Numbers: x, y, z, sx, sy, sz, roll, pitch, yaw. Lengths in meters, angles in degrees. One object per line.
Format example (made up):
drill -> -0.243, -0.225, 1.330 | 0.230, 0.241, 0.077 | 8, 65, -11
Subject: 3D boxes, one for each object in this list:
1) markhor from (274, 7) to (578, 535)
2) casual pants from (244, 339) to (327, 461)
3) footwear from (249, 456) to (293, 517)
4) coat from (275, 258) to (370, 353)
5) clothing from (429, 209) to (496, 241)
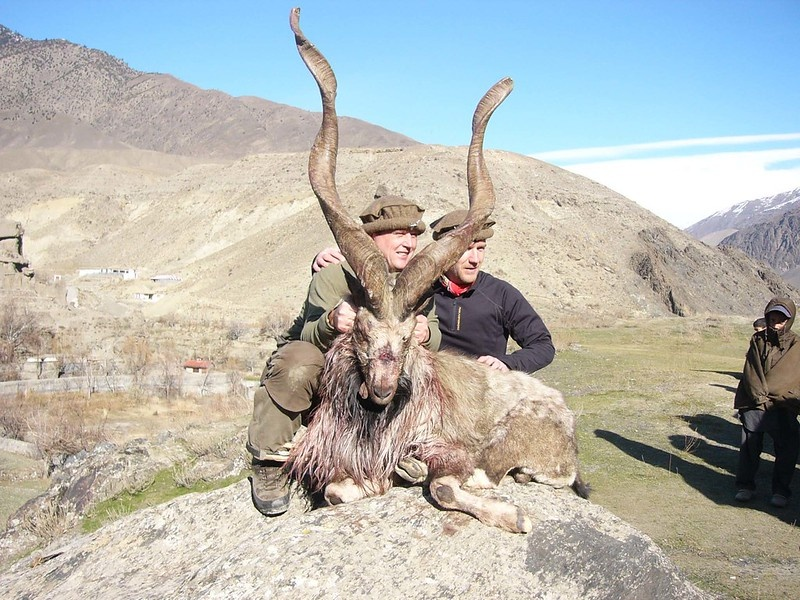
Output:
markhor -> 0.038, -0.067, 8.276 | 3.168, 5.697, 1.884 | 1, 1, -26
casual pants -> -1.335, 1.143, 7.893 | 0.796, 1.490, 0.763 | -6, 9, -37
footwear -> -1.536, 2.181, 8.136 | 0.482, 0.650, 0.551 | -3, 9, -22
coat -> -0.941, 0.060, 8.061 | 0.824, 1.174, 0.824 | -3, 9, -21
clothing -> 0.748, -1.033, 9.259 | 0.611, 0.249, 0.678 | -6, 2, -32
